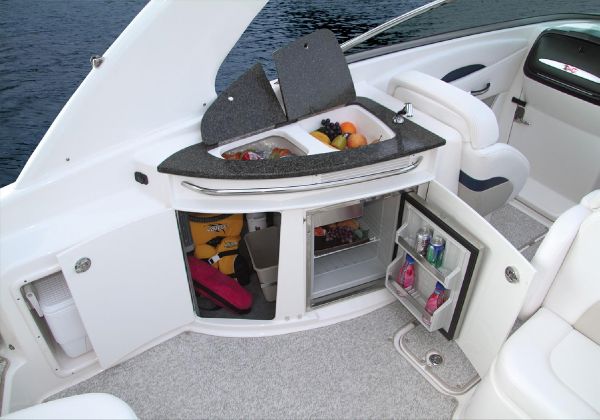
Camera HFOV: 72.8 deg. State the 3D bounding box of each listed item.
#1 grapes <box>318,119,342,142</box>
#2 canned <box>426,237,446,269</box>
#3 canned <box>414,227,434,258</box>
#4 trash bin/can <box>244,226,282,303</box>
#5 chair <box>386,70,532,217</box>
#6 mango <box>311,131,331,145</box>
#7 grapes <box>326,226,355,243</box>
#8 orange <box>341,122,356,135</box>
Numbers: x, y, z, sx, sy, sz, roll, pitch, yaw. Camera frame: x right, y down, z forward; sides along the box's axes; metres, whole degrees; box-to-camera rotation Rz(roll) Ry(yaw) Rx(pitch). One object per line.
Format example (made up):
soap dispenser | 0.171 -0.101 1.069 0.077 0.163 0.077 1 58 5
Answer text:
grapes | 0.181 -0.454 2.383 0.104 0.070 0.136 7 41 4
canned | 0.701 0.224 2.092 0.075 0.182 0.074 -25 48 -20
canned | 0.653 0.179 2.138 0.080 0.184 0.078 -22 49 -17
trash bin/can | -0.194 0.375 2.604 0.202 0.445 0.257 -14 32 -27
chair | 1.034 -0.378 2.680 0.569 1.087 0.820 -25 46 -11
mango | 0.117 -0.395 2.267 0.101 0.075 0.056 31 66 3
grapes | 0.246 0.150 2.495 0.159 0.064 0.096 -2 43 2
orange | 0.276 -0.460 2.345 0.066 0.078 0.065 -41 78 7
